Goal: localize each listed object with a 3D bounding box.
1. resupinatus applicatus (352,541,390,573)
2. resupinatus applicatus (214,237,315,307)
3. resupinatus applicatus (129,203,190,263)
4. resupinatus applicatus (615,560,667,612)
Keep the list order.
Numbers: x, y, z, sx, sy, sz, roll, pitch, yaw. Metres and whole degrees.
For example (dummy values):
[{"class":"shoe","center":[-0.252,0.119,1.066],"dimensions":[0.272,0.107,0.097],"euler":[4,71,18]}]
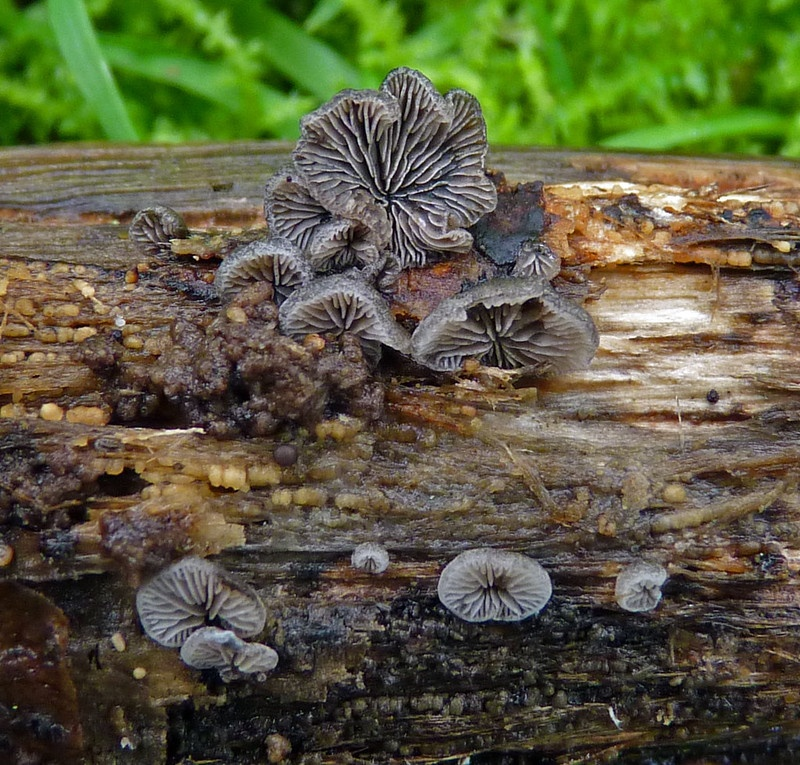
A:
[{"class":"resupinatus applicatus","center":[-0.171,1.075,7.229],"dimensions":[0.245,0.168,0.080],"euler":[-5,10,3]},{"class":"resupinatus applicatus","center":[-0.931,-0.737,7.426],"dimensions":[0.573,0.185,0.518],"euler":[-12,-6,10]},{"class":"resupinatus applicatus","center":[-1.553,-0.962,7.538],"dimensions":[0.414,0.288,0.157],"euler":[5,13,4]},{"class":"resupinatus applicatus","center":[1.481,1.282,7.310],"dimensions":[0.386,0.300,0.144],"euler":[10,29,-13]}]
